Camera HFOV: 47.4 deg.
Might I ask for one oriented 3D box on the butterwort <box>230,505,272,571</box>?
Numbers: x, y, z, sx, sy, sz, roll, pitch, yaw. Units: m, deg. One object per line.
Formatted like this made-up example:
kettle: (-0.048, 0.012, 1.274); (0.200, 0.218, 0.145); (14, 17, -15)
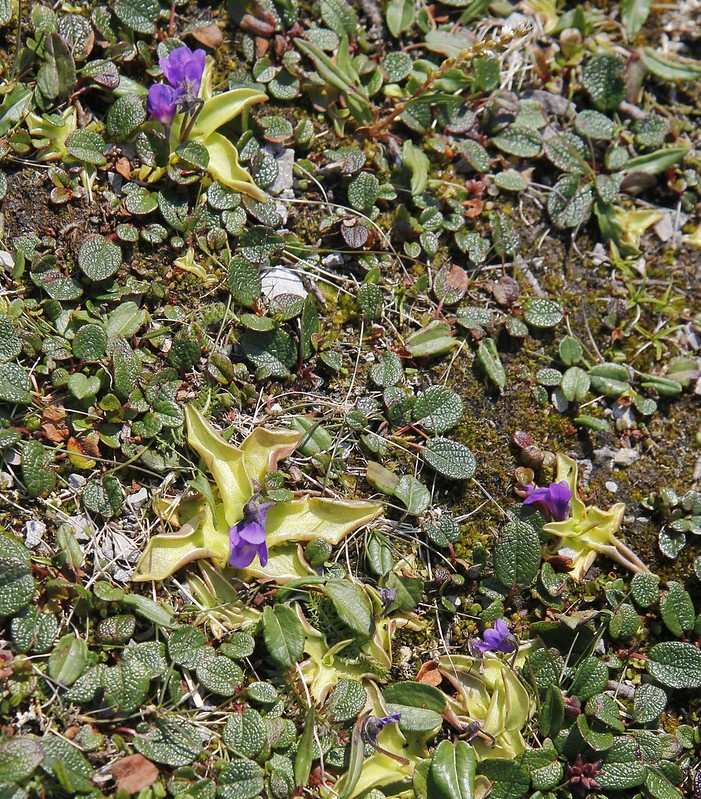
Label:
butterwort: (-0.328, 0.437, 2.640); (0.144, 0.202, 0.096); (7, 17, 3)

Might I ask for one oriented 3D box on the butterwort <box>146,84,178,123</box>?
butterwort: (-0.668, -1.051, 2.857); (0.106, 0.150, 0.063); (-5, 51, -17)

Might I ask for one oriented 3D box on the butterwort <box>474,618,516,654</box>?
butterwort: (0.517, 0.850, 2.891); (0.154, 0.091, 0.134); (-3, 83, 2)

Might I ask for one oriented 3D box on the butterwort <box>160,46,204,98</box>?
butterwort: (-0.613, -1.173, 2.905); (0.141, 0.155, 0.218); (7, 47, -7)
